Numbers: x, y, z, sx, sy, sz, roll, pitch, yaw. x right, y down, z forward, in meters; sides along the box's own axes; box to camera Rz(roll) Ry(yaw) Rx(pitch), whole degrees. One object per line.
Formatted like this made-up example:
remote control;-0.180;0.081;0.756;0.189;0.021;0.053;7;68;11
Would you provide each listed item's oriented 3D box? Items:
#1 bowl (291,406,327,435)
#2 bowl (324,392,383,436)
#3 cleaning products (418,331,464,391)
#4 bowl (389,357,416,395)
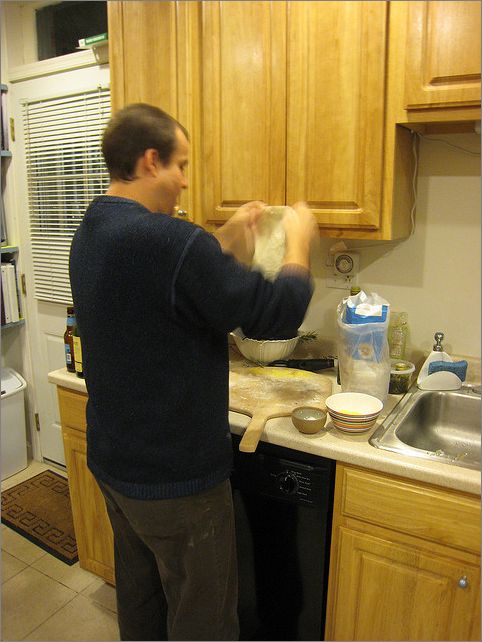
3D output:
bowl;0.170;0.239;1.257;0.058;0.038;0.062;-3;24;1
bowl;0.281;0.236;1.262;0.136;0.081;0.138;0;15;0
cleaning products;0.617;0.117;1.543;0.132;0.177;0.098;1;4;15
bowl;0.479;0.157;1.512;0.087;0.073;0.093;-1;7;0
